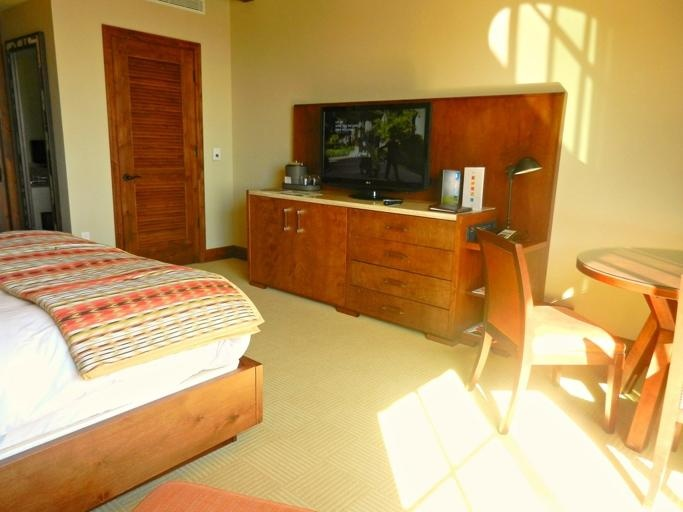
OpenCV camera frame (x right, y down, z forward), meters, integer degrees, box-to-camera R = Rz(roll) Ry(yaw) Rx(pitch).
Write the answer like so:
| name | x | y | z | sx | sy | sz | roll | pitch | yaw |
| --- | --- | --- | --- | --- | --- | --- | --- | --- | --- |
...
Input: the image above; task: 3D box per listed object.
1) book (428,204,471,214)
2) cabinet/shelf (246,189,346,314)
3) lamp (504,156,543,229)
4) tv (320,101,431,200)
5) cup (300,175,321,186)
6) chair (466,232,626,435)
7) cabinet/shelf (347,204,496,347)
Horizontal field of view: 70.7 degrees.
| name | x | y | z | sx | sy | sz | roll | pitch | yaw |
| --- | --- | --- | --- | --- | --- | --- | --- | --- | --- |
| book | 0.776 | -0.340 | 3.505 | 0.308 | 0.032 | 0.215 | 6 | 15 | 28 |
| cabinet/shelf | -0.374 | -0.044 | 4.250 | 0.947 | 0.804 | 0.398 | 14 | 16 | 40 |
| lamp | 1.325 | -0.445 | 3.527 | 0.247 | 0.543 | 0.283 | 5 | 15 | 23 |
| tv | 0.263 | -0.894 | 4.151 | 1.105 | 0.786 | 0.260 | 10 | 16 | 37 |
| cup | -0.278 | -0.695 | 4.499 | 0.144 | 0.085 | 0.143 | 2 | 5 | 0 |
| chair | 1.152 | 0.388 | 2.774 | 0.747 | 1.008 | 0.740 | 3 | 12 | 14 |
| cabinet/shelf | 0.583 | 0.088 | 3.927 | 0.997 | 0.940 | 0.544 | 12 | 15 | 38 |
